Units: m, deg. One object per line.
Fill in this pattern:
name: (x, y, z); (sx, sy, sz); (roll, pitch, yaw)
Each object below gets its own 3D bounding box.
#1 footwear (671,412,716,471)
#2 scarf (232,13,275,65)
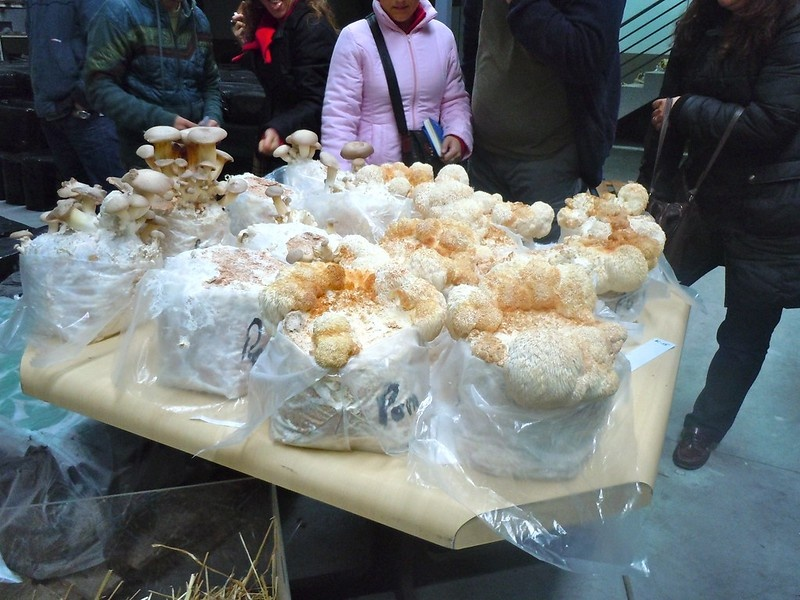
footwear: (1.361, 0.632, 2.641); (0.107, 0.143, 0.325); (11, 41, 40)
scarf: (-0.725, -1.303, 2.942); (0.169, 0.098, 0.232); (24, 86, 7)
